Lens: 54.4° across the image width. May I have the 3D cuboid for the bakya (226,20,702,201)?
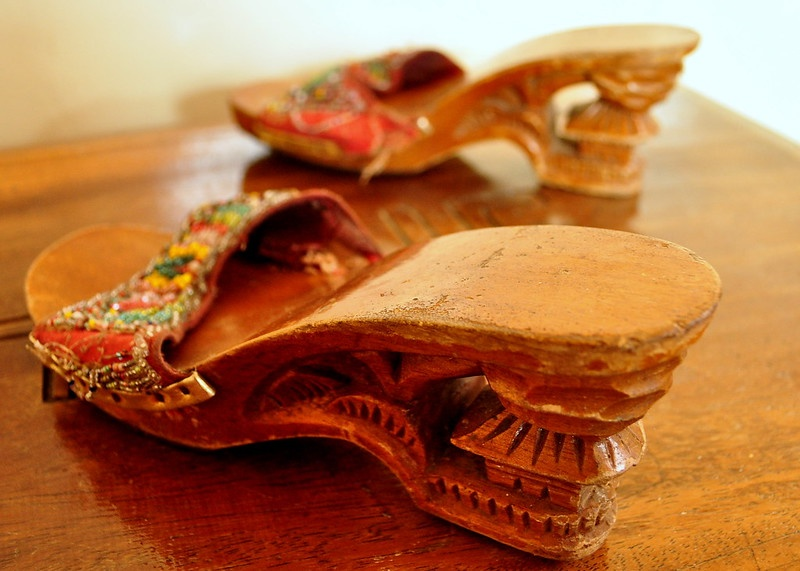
[{"bbox_3d":[0.114,-0.399,1.640,0.890,0.256,0.329,7,37,13],"label":"bakya"}]

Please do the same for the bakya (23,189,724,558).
[{"bbox_3d":[-0.101,0.058,1.104,1.044,0.307,0.426,13,36,20],"label":"bakya"}]
